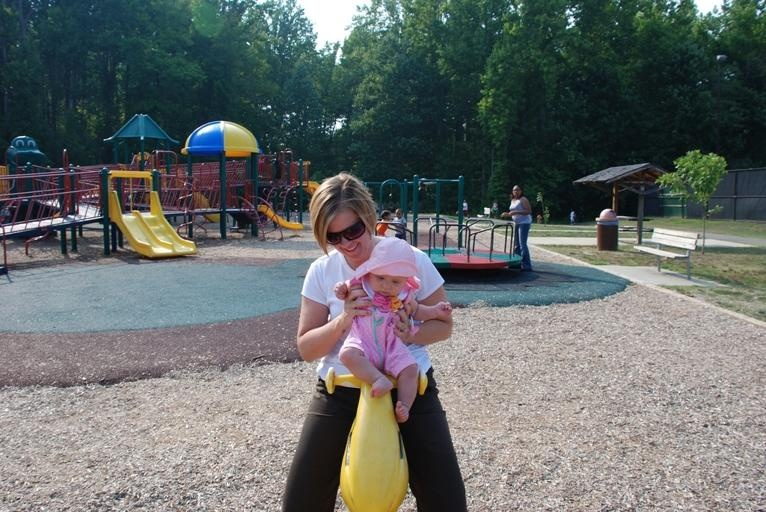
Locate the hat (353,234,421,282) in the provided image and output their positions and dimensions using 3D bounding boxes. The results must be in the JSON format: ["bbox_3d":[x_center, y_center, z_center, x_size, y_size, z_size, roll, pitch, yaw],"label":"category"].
[{"bbox_3d":[0.043,0.016,5.227,0.424,0.223,0.337,3,6,-26],"label":"hat"}]

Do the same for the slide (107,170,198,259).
[{"bbox_3d":[-6.734,-1.189,18.230,1.559,2.358,4.236,-7,26,-36],"label":"slide"}]

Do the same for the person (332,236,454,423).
[{"bbox_3d":[0.058,0.616,5.278,0.882,1.534,0.367,-1,6,-3],"label":"person"}]

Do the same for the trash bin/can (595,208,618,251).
[{"bbox_3d":[7.101,-0.817,20.008,0.629,1.238,0.895,2,6,22],"label":"trash bin/can"}]
